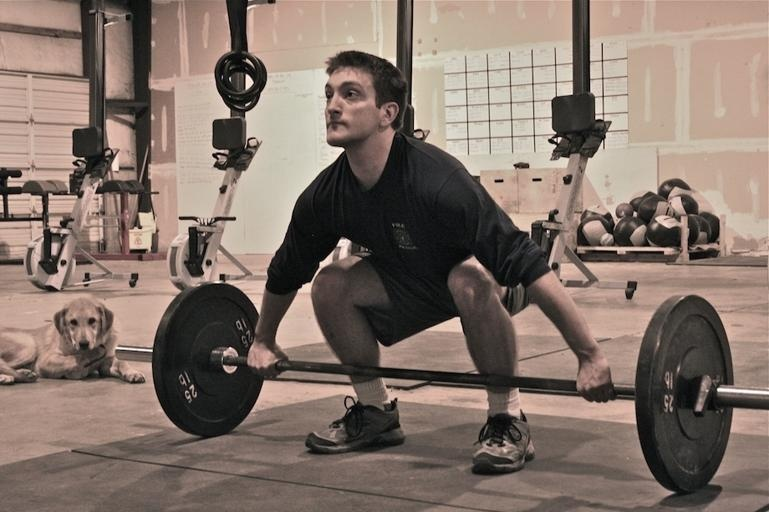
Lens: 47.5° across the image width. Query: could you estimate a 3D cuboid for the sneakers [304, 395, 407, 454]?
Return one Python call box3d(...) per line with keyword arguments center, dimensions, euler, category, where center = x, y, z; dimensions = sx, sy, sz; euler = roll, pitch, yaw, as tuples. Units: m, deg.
box3d(center=(-0.104, 0.732, 3.752), dimensions=(0.443, 0.221, 0.189), euler=(-2, -7, -14), category="sneakers")
